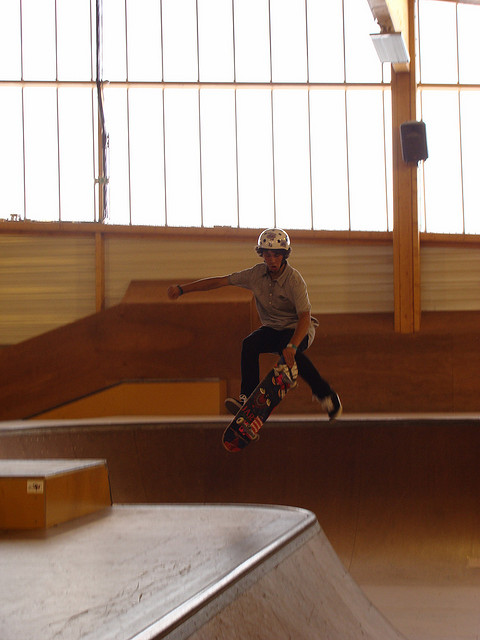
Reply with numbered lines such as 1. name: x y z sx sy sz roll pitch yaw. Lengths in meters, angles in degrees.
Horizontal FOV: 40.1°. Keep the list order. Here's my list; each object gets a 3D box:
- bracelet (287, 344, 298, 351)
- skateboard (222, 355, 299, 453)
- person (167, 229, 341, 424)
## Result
1. bracelet: 0.363 0.191 4.577 0.067 0.033 0.135 5 -2 5
2. skateboard: 0.189 0.676 5.133 0.189 0.818 0.119 33 -11 -22
3. person: 0.200 0.103 4.858 0.891 1.546 0.735 -6 0 4
